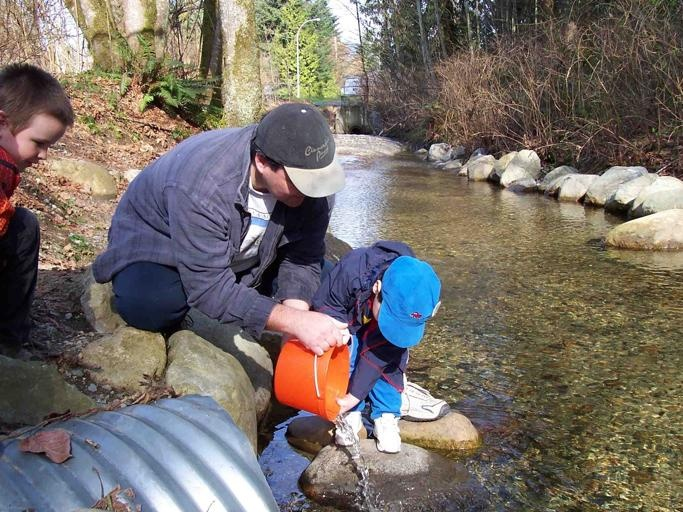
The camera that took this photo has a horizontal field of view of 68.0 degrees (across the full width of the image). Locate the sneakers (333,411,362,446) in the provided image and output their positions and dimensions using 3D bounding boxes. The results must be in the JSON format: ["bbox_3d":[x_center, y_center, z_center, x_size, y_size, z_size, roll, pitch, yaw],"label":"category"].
[{"bbox_3d":[0.023,0.921,2.693,0.134,0.160,0.375,-1,-19,6],"label":"sneakers"}]

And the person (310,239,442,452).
[{"bbox_3d":[0.166,0.502,3.010,0.566,1.201,0.957,1,17,-26],"label":"person"}]

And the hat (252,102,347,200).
[{"bbox_3d":[-0.215,-0.520,2.509,0.437,0.476,0.333,-3,12,-10],"label":"hat"}]

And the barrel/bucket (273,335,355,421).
[{"bbox_3d":[-0.129,0.606,2.569,0.422,0.358,0.309,-5,13,-18],"label":"barrel/bucket"}]

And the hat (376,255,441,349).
[{"bbox_3d":[0.344,0.225,2.633,0.303,0.397,0.328,2,12,13],"label":"hat"}]
